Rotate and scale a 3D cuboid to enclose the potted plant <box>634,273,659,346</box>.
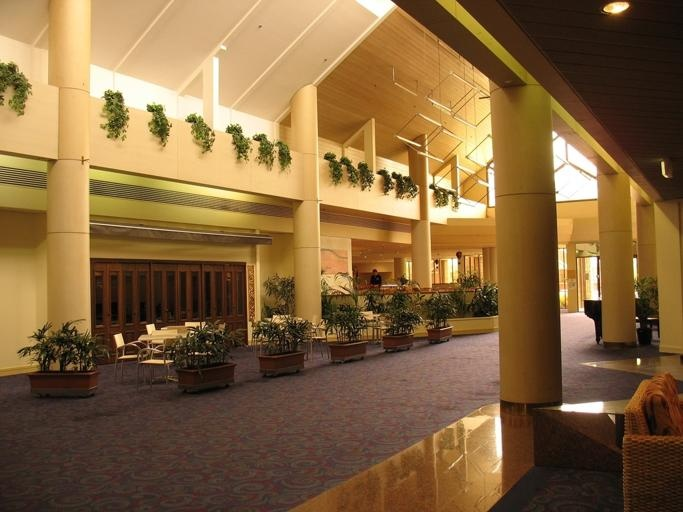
[{"bbox_3d":[8.641,1.526,13.876,0.609,1.788,1.818,-8,-8,32],"label":"potted plant"}]

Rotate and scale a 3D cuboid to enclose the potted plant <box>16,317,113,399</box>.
[{"bbox_3d":[-4.893,1.826,8.728,1.406,1.274,0.794,-3,-4,-17],"label":"potted plant"}]

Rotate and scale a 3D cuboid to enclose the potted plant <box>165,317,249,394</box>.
[{"bbox_3d":[-2.464,1.800,8.721,1.110,1.185,0.781,-1,-7,-19],"label":"potted plant"}]
